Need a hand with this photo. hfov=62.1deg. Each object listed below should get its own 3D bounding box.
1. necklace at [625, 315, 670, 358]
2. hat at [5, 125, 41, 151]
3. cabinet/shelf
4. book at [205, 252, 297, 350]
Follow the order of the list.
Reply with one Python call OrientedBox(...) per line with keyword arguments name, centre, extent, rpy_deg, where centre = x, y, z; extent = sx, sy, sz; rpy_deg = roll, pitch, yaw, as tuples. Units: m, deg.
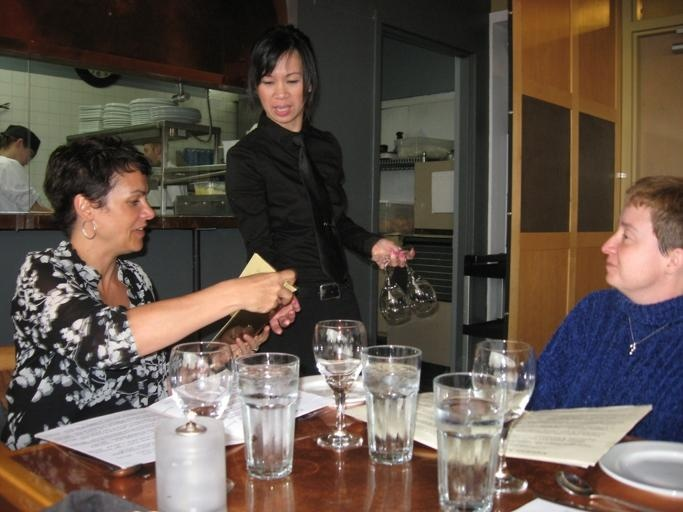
OrientedBox(name="necklace", centre=(0.878, 0.232, 1.665), extent=(0.101, 0.096, 0.026), rpy_deg=(20, -13, 18))
OrientedBox(name="hat", centre=(-2.155, -0.778, 3.842), extent=(0.177, 0.099, 0.133), rpy_deg=(19, 8, -38))
OrientedBox(name="cabinet/shelf", centre=(-1.301, -0.677, 4.379), extent=(0.433, 0.687, 1.097), rpy_deg=(-1, 13, -29))
OrientedBox(name="book", centre=(-0.312, 0.089, 1.703), extent=(0.065, 0.263, 0.260), rpy_deg=(44, -18, 22))
